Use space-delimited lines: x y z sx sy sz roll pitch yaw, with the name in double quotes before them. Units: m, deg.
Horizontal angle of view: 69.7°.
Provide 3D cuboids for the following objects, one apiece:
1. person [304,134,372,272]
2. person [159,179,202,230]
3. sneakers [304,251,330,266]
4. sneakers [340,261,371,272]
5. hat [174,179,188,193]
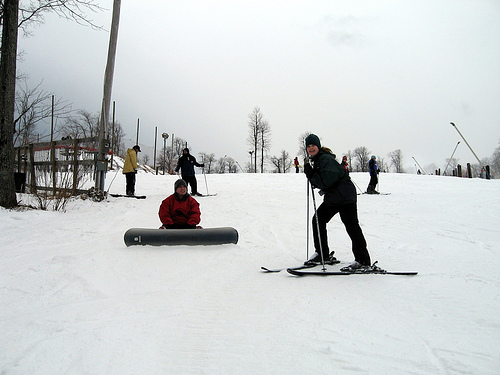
"person" 1.323 0.214 5.613 0.537 1.974 1.287 -7 14 -38
"person" -1.357 0.469 7.283 0.888 1.424 0.819 2 -14 -15
"sneakers" 1.054 1.136 5.824 0.456 0.228 0.164 4 -8 -21
"sneakers" 1.572 1.204 5.409 0.455 0.230 0.175 5 -21 2
"hat" -1.365 -0.051 7.083 0.165 0.212 0.230 12 4 -24
